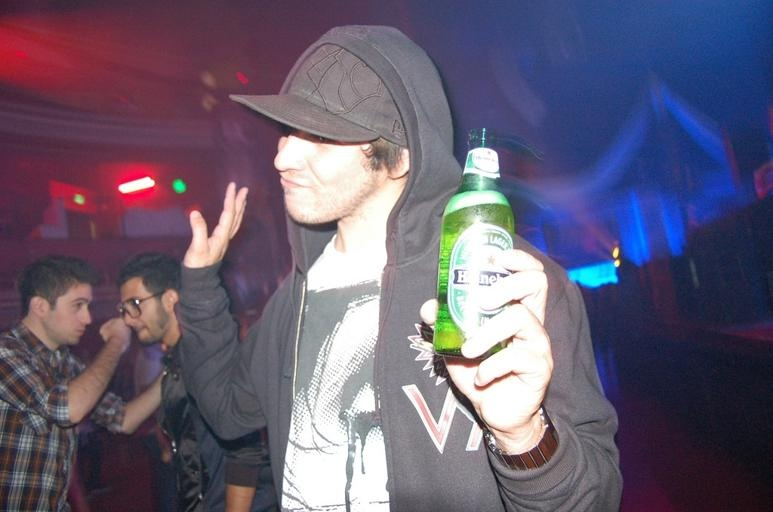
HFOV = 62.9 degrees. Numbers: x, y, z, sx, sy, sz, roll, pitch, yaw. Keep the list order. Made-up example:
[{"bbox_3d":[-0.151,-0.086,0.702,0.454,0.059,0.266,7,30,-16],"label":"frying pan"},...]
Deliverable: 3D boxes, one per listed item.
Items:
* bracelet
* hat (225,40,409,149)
[{"bbox_3d":[0.791,1.101,3.755,0.367,0.359,0.177,-32,-44,-7],"label":"bracelet"},{"bbox_3d":[-0.413,-1.017,4.262,1.011,0.511,0.721,20,13,-43],"label":"hat"}]
